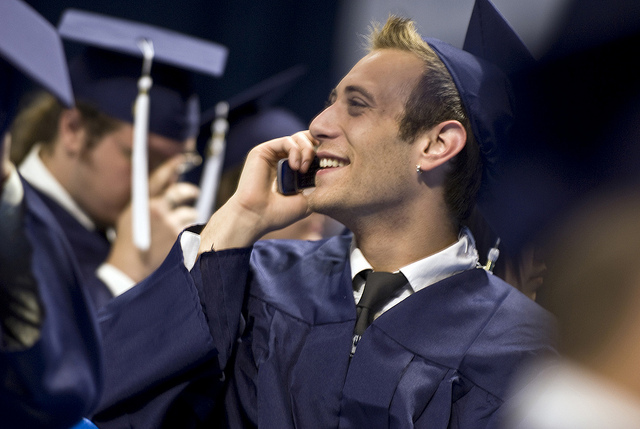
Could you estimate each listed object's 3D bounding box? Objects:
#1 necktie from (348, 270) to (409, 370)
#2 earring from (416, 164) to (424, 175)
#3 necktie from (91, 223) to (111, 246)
[{"bbox_3d":[0.126,0.280,2.494,0.109,0.095,0.305,29,55,19],"label":"necktie"},{"bbox_3d":[0.287,-0.132,2.531,0.014,0.022,0.023,-28,58,-23],"label":"earring"},{"bbox_3d":[-0.777,0.064,3.103,0.050,0.065,0.066,0,6,0],"label":"necktie"}]
